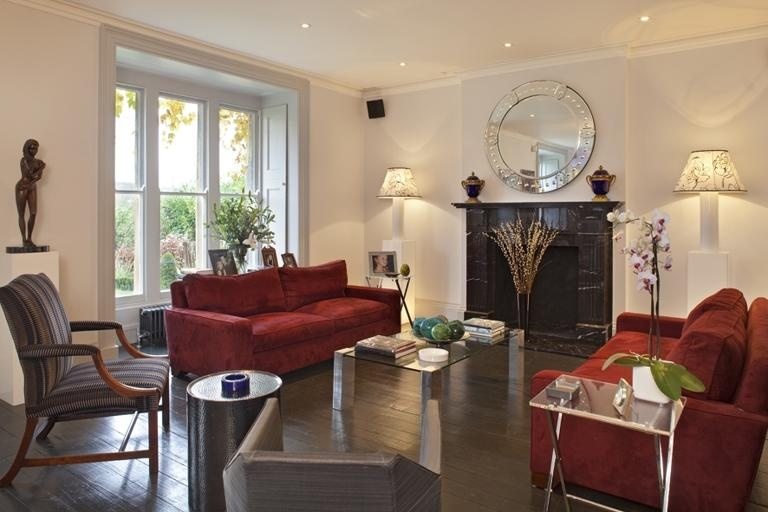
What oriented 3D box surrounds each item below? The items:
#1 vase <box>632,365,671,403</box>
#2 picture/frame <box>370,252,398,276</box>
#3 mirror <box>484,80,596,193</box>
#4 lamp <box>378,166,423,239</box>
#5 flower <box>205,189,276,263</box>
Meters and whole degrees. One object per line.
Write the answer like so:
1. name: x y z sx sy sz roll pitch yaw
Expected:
1. vase: 1.636 0.812 3.256 0.214 0.207 0.217 -2 3 -41
2. picture/frame: -0.003 0.107 7.003 0.310 0.254 0.021 -1 -2 2
3. mirror: 2.102 -1.569 6.834 1.658 1.612 0.060 0 1 26
4. lamp: 0.259 -0.778 7.694 0.644 1.059 0.460 -3 5 -22
5. flower: -1.817 -0.404 7.413 1.057 1.180 0.995 1 4 35
